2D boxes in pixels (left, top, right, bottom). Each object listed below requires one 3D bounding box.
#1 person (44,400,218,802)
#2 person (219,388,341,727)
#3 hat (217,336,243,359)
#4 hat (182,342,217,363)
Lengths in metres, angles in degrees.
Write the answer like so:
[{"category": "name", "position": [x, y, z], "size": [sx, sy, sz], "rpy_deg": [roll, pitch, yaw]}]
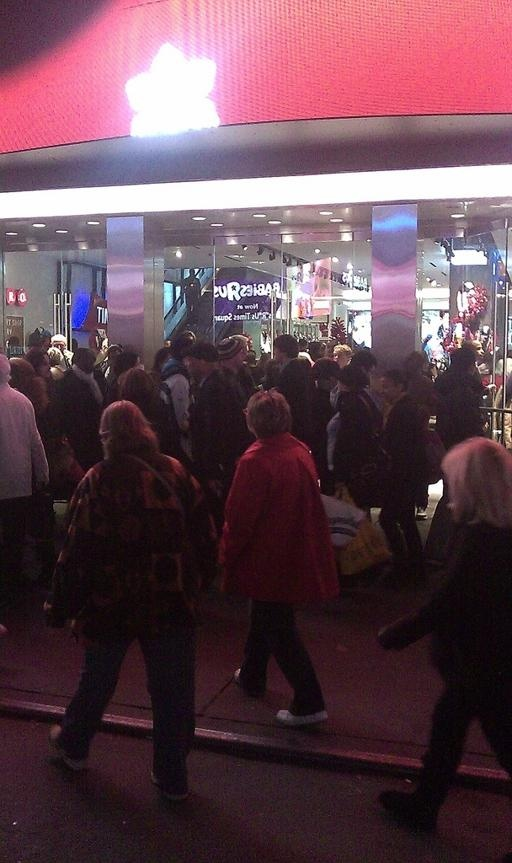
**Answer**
[{"category": "person", "position": [-0.430, 0.584, 2.256], "size": [0.580, 1.368, 0.319], "rpy_deg": [-1, 1, 1]}, {"category": "person", "position": [0.100, 0.545, 2.713], "size": [0.485, 1.413, 0.202], "rpy_deg": [-1, 1, -4]}, {"category": "hat", "position": [-0.201, -0.642, 4.928], "size": [0.147, 0.188, 0.287], "rpy_deg": [1, 2, 44]}, {"category": "hat", "position": [-0.380, -0.569, 4.608], "size": [0.208, 0.159, 0.198], "rpy_deg": [-1, 2, 0]}]
